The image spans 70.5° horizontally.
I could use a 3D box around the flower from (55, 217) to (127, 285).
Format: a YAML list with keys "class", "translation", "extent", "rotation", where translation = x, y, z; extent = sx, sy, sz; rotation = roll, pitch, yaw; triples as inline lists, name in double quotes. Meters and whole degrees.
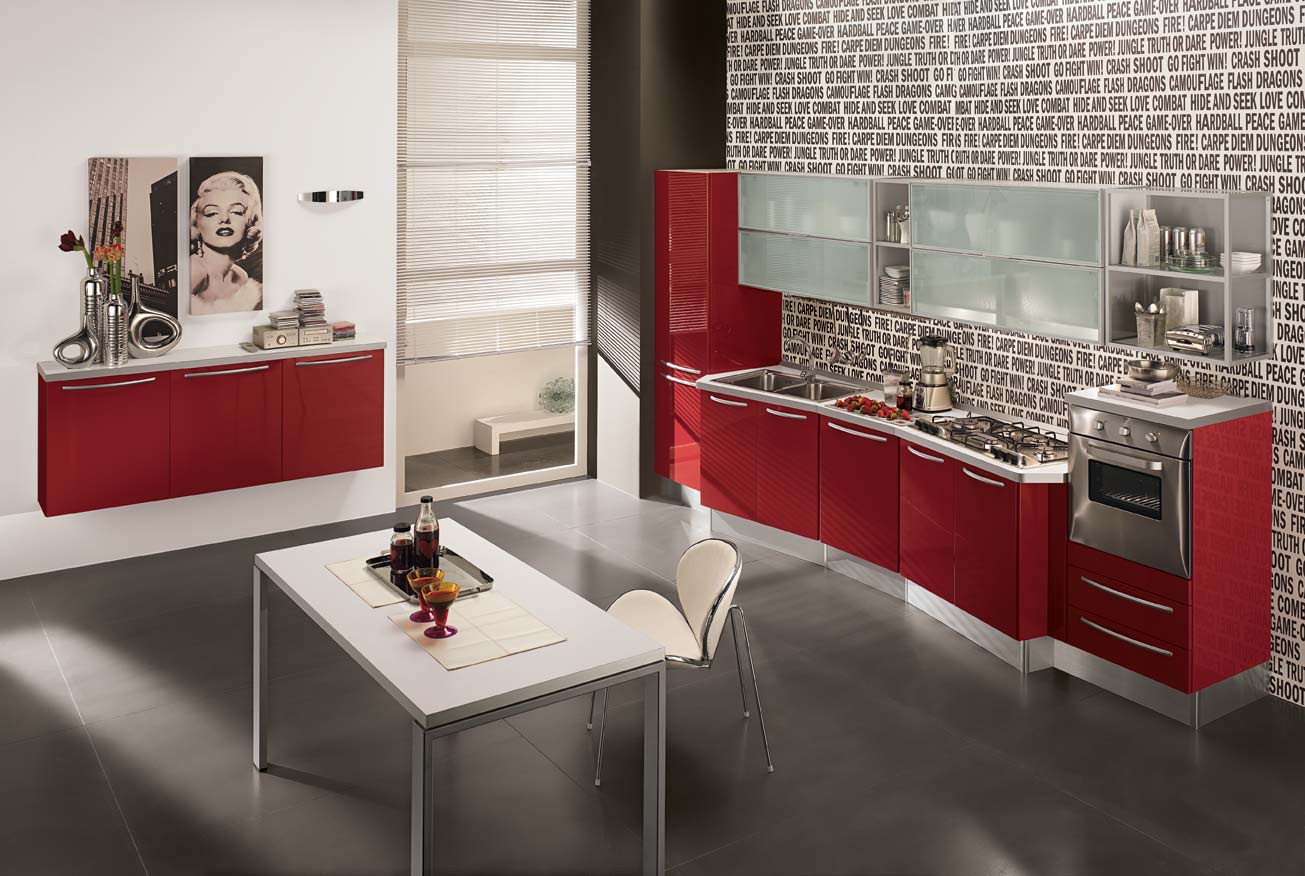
- class: "flower"
  translation: [-3.734, -1.212, 6.171]
  extent: [0.373, 0.381, 0.197]
  rotation: [-13, 19, -30]

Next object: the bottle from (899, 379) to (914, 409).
- class: "bottle"
  translation: [1.689, -0.303, 6.138]
  extent: [0.114, 0.179, 0.176]
  rotation: [3, 18, 17]

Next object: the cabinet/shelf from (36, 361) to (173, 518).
- class: "cabinet/shelf"
  translation: [-3.690, -0.042, 6.172]
  extent: [1.023, 1.179, 0.606]
  rotation: [-2, 5, -33]

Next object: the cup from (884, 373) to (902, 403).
- class: "cup"
  translation: [1.630, -0.334, 6.289]
  extent: [0.110, 0.170, 0.316]
  rotation: [2, 18, 15]

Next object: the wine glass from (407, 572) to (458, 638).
- class: "wine glass"
  translation: [-0.860, 0.655, 3.653]
  extent: [0.220, 0.203, 0.228]
  rotation: [0, 0, -11]

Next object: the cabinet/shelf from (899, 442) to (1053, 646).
- class: "cabinet/shelf"
  translation: [1.916, 0.590, 5.408]
  extent: [0.480, 1.046, 1.123]
  rotation: [-2, 7, -23]

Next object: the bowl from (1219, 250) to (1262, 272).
- class: "bowl"
  translation: [3.002, -0.905, 4.712]
  extent: [0.152, 0.078, 0.155]
  rotation: [-1, 6, 0]

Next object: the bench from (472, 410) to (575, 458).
- class: "bench"
  translation: [-1.250, -0.115, 8.885]
  extent: [0.934, 0.290, 0.398]
  rotation: [-16, 21, -36]

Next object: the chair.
- class: "chair"
  translation: [0.148, 1.015, 4.810]
  extent: [1.123, 1.375, 0.966]
  rotation: [1, 1, -17]
